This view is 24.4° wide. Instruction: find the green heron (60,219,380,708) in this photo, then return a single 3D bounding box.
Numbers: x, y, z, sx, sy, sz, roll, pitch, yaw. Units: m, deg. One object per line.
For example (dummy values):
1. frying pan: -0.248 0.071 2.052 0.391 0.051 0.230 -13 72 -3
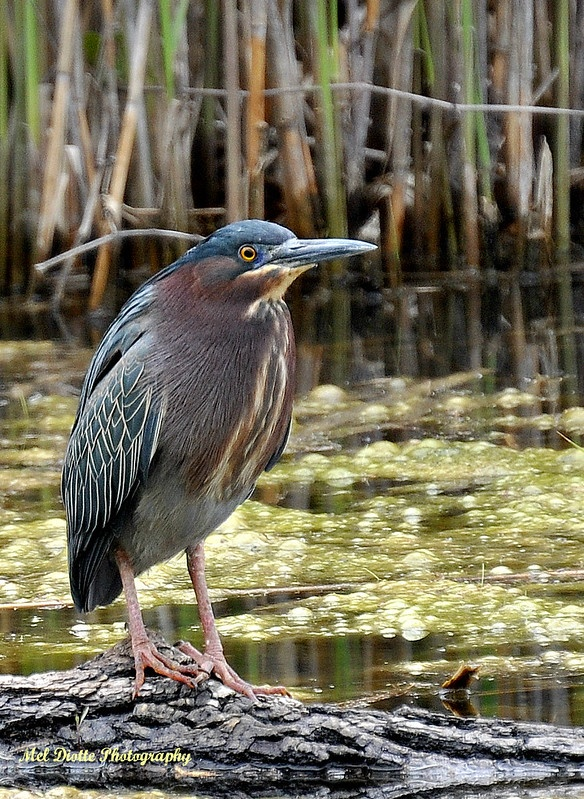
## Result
1. green heron: -0.257 0.096 2.922 0.650 0.947 0.629 3 11 16
